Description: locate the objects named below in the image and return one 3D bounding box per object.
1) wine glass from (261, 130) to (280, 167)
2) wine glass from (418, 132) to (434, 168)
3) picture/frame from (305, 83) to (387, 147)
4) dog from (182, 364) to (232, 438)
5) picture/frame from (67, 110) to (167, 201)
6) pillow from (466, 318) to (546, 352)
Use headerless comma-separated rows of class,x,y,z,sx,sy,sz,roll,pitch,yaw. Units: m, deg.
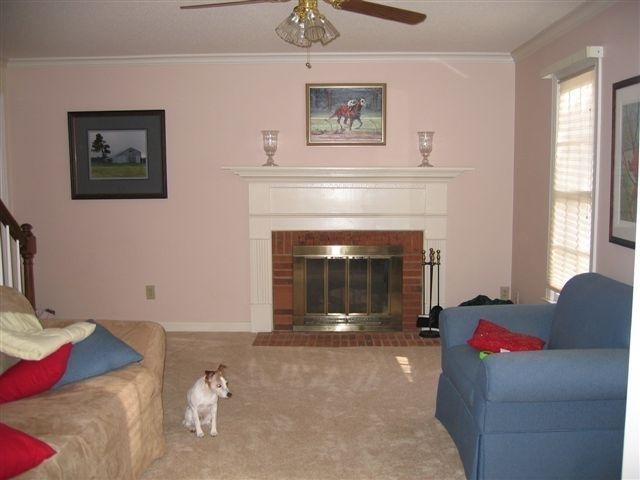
wine glass,-0.473,-0.865,4.936,0.140,0.335,0.229,-2,12,-6
wine glass,1.009,-0.876,4.998,0.148,0.333,0.328,1,12,12
picture/frame,0.272,-1.256,5.103,0.587,0.442,0.024,0,7,2
dog,-0.710,0.993,3.287,0.204,0.464,0.401,1,11,-41
picture/frame,-1.974,-0.876,5.151,0.848,0.859,0.059,0,5,-2
pillow,1.139,0.599,3.217,0.254,0.079,0.243,10,21,32
